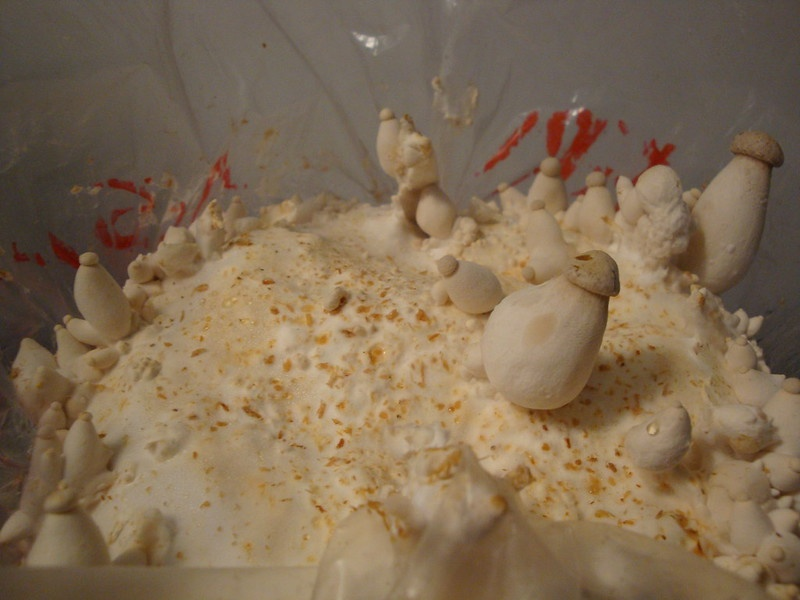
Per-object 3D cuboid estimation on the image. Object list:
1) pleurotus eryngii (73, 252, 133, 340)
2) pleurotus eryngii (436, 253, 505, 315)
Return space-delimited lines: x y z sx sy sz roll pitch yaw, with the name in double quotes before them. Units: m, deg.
"pleurotus eryngii" -1.122 0.005 3.714 0.187 0.339 0.109 -24 29 -7
"pleurotus eryngii" 0.257 -0.039 3.647 0.195 0.184 0.267 -3 72 -18
